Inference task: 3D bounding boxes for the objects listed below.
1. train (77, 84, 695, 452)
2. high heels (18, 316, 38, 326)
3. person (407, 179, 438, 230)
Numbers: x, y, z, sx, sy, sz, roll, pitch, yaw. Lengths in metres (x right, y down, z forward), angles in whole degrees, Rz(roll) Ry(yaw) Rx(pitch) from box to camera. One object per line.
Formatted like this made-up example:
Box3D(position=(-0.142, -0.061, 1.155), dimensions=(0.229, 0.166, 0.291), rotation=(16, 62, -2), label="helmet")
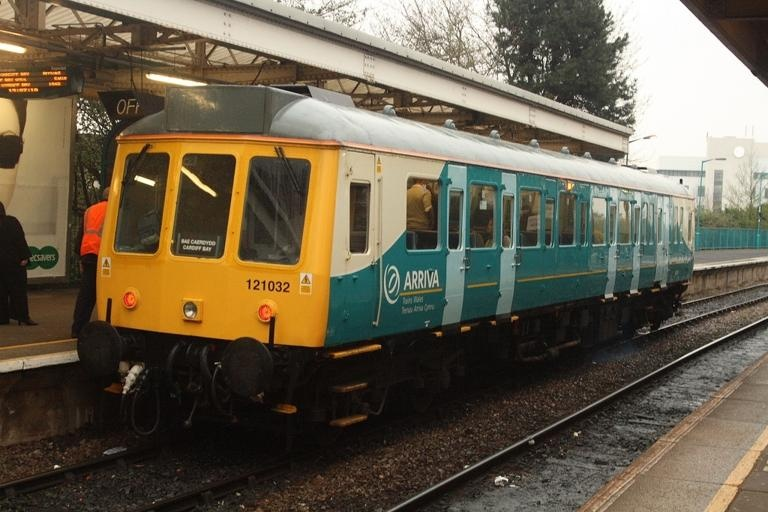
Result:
Box3D(position=(2.280, -0.431, 13.099), dimensions=(3.638, 4.797, 15.750), rotation=(3, 6, 33), label="train")
Box3D(position=(-6.040, 1.099, 10.448), dimensions=(0.369, 0.175, 0.140), rotation=(-3, 2, 2), label="high heels")
Box3D(position=(0.510, -0.724, 8.467), dimensions=(0.633, 0.776, 0.458), rotation=(-2, 6, -16), label="person")
